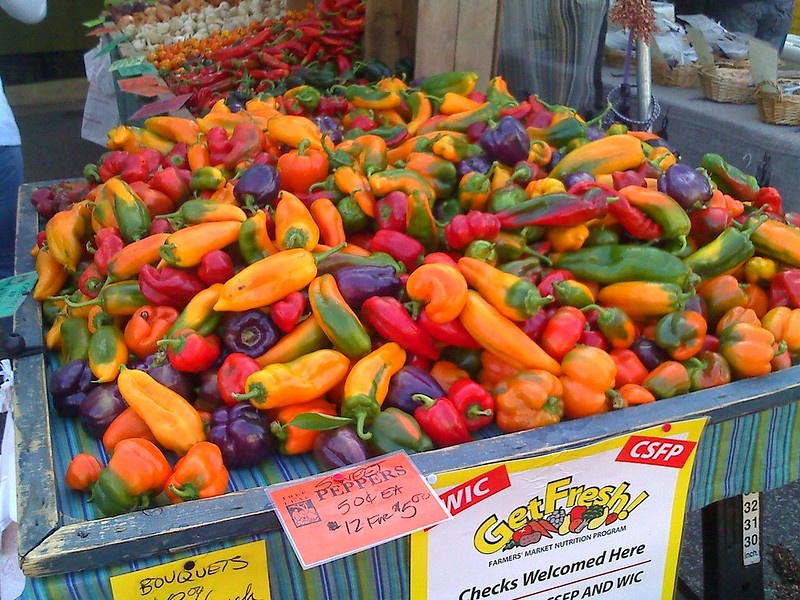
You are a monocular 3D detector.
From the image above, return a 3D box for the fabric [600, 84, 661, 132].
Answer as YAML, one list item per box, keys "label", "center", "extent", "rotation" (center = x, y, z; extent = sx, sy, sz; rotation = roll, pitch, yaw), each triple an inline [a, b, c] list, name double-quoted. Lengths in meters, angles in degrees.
- label: "fabric"
  center: [1.878, -1.608, 5.763]
  extent: [0.313, 0.092, 0.405]
  rotation: [25, -6, 34]

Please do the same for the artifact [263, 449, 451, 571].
- label: "artifact"
  center: [-0.133, 0.653, 2.268]
  extent: [0.511, 0.100, 0.283]
  rotation: [-13, 25, -16]
